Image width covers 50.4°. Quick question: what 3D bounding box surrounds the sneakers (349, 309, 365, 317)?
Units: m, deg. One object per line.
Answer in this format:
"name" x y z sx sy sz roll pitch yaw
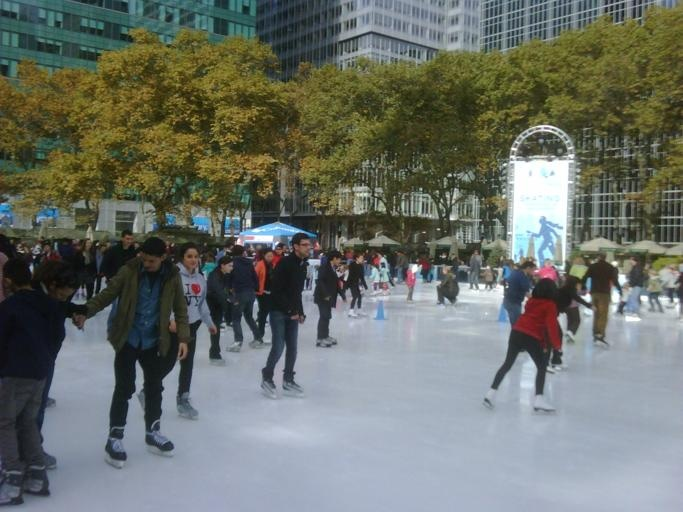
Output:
"sneakers" 0.443 1.691 21.515 0.550 0.269 0.188 -3 6 -24

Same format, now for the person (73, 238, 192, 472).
"person" -2.379 1.098 8.525 1.157 2.635 0.475 0 3 -17

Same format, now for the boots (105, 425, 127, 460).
"boots" -2.641 2.180 8.400 0.309 0.434 0.150 1 2 13

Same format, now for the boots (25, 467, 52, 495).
"boots" -3.241 2.399 7.703 0.264 0.280 0.146 4 7 -6

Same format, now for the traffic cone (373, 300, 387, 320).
"traffic cone" 1.023 1.562 21.165 0.460 0.647 0.474 1 6 15

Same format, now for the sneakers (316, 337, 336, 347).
"sneakers" -0.354 1.852 15.569 0.306 0.128 0.202 -4 -2 22

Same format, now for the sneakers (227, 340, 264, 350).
"sneakers" -1.961 1.840 14.831 0.652 0.272 0.233 4 -8 -21

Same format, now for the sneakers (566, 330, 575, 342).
"sneakers" 5.225 1.836 16.641 0.132 0.164 0.413 -4 -40 25

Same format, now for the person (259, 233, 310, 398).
"person" -0.842 0.907 11.046 0.700 2.503 0.571 0 3 -17
